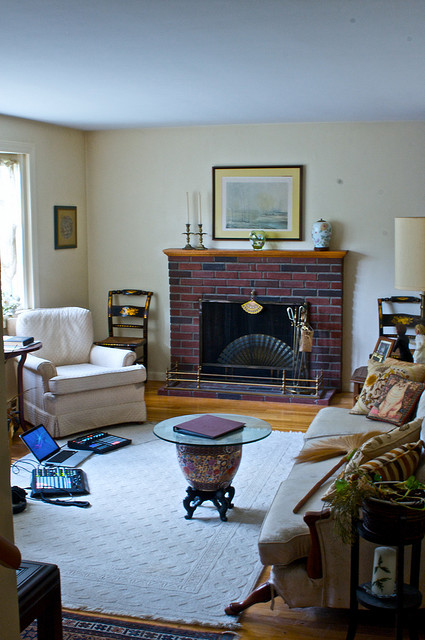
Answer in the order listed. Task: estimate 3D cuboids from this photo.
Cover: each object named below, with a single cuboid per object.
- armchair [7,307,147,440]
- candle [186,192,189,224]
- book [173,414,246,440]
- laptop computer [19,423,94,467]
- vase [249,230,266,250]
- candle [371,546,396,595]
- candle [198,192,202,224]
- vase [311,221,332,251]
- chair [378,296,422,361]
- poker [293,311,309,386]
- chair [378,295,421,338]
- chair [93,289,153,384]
[{"bbox_3d":[-1.158,0.348,4.579,1.042,1.165,1.156,-3,5,-38],"label":"armchair"},{"bbox_3d":[-0.278,-1.216,5.422,0.033,0.313,0.017,0,4,6],"label":"candle"},{"bbox_3d":[-0.023,0.590,2.798,0.305,0.029,0.336,3,6,38],"label":"book"},{"bbox_3d":[-1.103,0.908,3.509,0.318,0.206,0.322,8,11,12],"label":"laptop computer"},{"bbox_3d":[0.462,-0.836,5.200,0.171,0.205,0.175,0,4,5],"label":"vase"},{"bbox_3d":[0.487,0.708,1.421,0.065,0.166,0.091,1,4,18],"label":"candle"},{"bbox_3d":[-0.143,-1.208,5.390,0.045,0.325,0.016,0,4,13],"label":"candle"},{"bbox_3d":[1.083,-0.826,4.977,0.255,0.373,0.260,1,4,17],"label":"vase"},{"bbox_3d":[1.707,0.017,4.756,0.396,0.721,0.474,1,7,8],"label":"chair"},{"bbox_3d":[0.896,0.284,5.064,0.161,0.750,0.195,0,4,6],"label":"poker"},{"bbox_3d":[1.793,-0.047,4.818,0.383,0.387,0.343,1,5,19],"label":"chair"},{"bbox_3d":[-0.986,0.187,5.462,0.600,0.982,0.589,3,6,19],"label":"chair"}]
